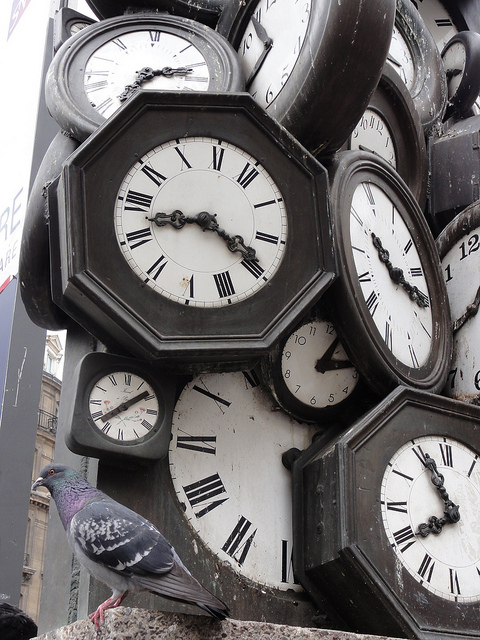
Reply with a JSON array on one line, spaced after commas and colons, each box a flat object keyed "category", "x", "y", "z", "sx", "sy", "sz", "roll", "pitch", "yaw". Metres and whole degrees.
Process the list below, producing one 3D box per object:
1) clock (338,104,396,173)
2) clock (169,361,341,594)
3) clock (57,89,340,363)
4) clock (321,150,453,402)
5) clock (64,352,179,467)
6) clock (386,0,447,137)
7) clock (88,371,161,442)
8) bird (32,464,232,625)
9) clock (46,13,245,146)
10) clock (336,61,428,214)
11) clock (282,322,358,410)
[{"category": "clock", "x": 0.840, "y": -1.096, "z": 7.950, "sx": 0.398, "sy": 0.022, "sz": 0.517, "roll": -17, "pitch": 92, "yaw": -36}, {"category": "clock", "x": 0.196, "y": 0.741, "z": 6.834, "sx": 1.246, "sy": 0.163, "sz": 1.743, "roll": -3, "pitch": 30, "yaw": -15}, {"category": "clock", "x": -0.199, "y": -0.460, "z": 6.331, "sx": 1.391, "sy": 0.723, "sz": 1.224, "roll": -8, "pitch": 56, "yaw": -7}, {"category": "clock", "x": 0.910, "y": -0.233, "z": 7.195, "sx": 0.153, "sy": 1.555, "sz": 1.161, "roll": -23, "pitch": 37, "yaw": -19}, {"category": "clock", "x": -0.570, "y": 0.453, "z": 6.198, "sx": 0.353, "sy": 0.134, "sz": 0.441, "roll": 19, "pitch": 57, "yaw": -26}, {"category": "clock", "x": 1.265, "y": -1.831, "z": 8.897, "sx": 0.781, "sy": 0.194, "sz": 0.975, "roll": 10, "pitch": 69, "yaw": -58}, {"category": "clock", "x": -0.576, "y": 0.449, "z": 6.190, "sx": 0.221, "sy": 0.025, "sz": 0.274, "roll": 28, "pitch": 50, "yaw": -31}, {"category": "bird", "x": -0.478, "y": 1.013, "z": 5.460, "sx": 0.792, "sy": 0.348, "sz": 0.739, "roll": -2, "pitch": 64, "yaw": -1}, {"category": "clock", "x": -0.542, "y": -1.383, "z": 7.048, "sx": 1.124, "sy": 0.321, "sz": 0.870, "roll": -19, "pitch": 59, "yaw": -14}, {"category": "clock", "x": 0.834, "y": -1.059, "z": 7.501, "sx": 0.758, "sy": 0.089, "sz": 1.122, "roll": 18, "pitch": 70, "yaw": -46}, {"category": "clock", "x": 0.432, "y": 0.261, "z": 6.889, "sx": 0.371, "sy": 0.087, "sz": 0.510, "roll": 1, "pitch": 82, "yaw": -32}]
